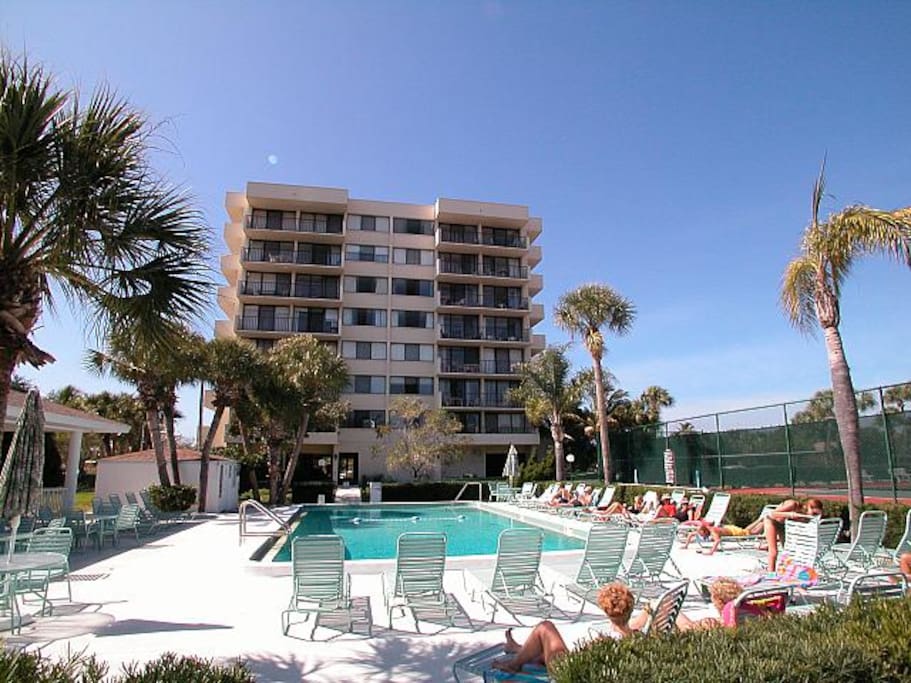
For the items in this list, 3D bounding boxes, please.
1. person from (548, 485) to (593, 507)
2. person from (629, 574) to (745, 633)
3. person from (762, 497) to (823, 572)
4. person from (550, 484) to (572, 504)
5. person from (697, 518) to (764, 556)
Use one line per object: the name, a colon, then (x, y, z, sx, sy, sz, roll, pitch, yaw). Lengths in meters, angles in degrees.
person: (4.499, 6.132, 22.443, 1.505, 0.632, 0.945, -8, -17, 29)
person: (2.407, 2.868, 6.597, 0.603, 0.708, 1.143, -1, -35, 4)
person: (6.649, 3.829, 11.515, 2.189, 1.126, 0.721, 9, -15, -43)
person: (4.423, 6.384, 23.703, 0.857, 0.377, 0.826, -2, -5, -14)
person: (6.592, 4.638, 13.868, 1.376, 0.751, 2.382, -6, -12, 20)
